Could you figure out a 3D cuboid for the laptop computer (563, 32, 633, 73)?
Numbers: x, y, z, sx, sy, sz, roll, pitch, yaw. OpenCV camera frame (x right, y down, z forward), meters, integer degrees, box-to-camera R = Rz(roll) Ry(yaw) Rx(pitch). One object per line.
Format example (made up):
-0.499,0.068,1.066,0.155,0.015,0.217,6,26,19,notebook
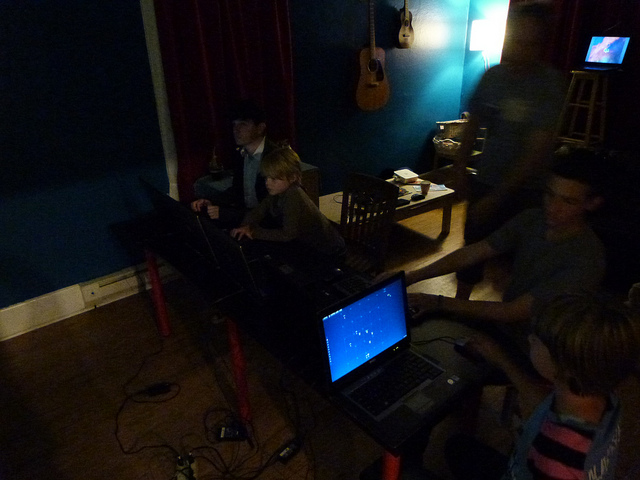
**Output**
2.915,-1.900,5.130,0.441,0.378,0.494,-24,39,-24,laptop computer

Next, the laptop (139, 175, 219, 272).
-0.980,-0.119,3.370,0.402,0.368,0.574,-30,41,-29,laptop

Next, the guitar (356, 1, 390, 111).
0.542,-1.815,4.969,0.213,1.076,0.430,12,33,26,guitar

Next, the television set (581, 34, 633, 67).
2.988,-1.970,5.120,0.388,0.315,0.244,15,35,29,television set

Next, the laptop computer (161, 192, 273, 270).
-0.593,-0.153,3.086,0.363,0.482,0.589,-33,49,-31,laptop computer

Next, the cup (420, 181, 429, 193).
0.951,-0.491,4.494,0.087,0.093,0.086,0,27,0,cup

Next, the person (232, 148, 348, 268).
-0.209,-0.146,3.088,0.700,0.730,0.557,4,31,14,person

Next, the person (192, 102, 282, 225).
-0.663,-0.572,3.733,0.780,0.901,0.555,-21,42,-36,person

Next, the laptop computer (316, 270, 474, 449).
0.339,0.488,2.134,0.539,0.409,0.443,-21,31,-35,laptop computer
